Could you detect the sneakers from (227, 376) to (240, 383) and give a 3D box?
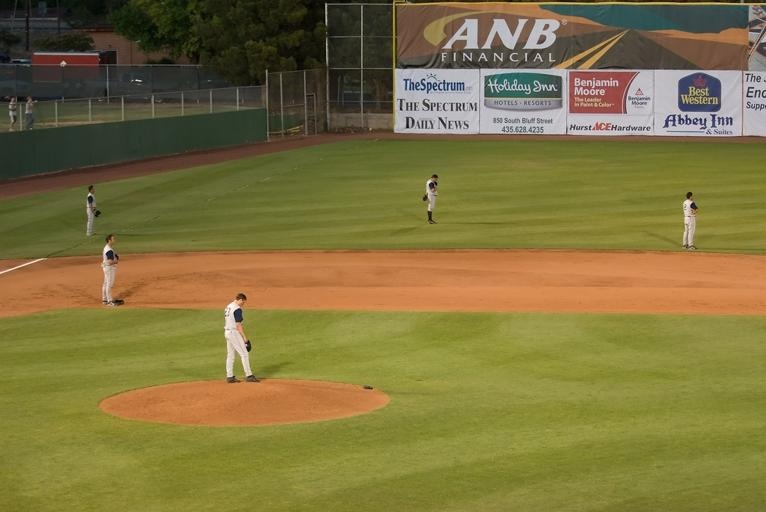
[{"bbox_3d":[-4.949,4.027,44.265,0.490,0.261,0.164,-4,23,-11],"label":"sneakers"}]

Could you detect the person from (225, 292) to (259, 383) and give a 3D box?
[{"bbox_3d":[-4.705,2.695,44.085,1.078,2.902,0.850,8,15,39],"label":"person"}]

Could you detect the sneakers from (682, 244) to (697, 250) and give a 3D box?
[{"bbox_3d":[12.763,-0.357,56.344,0.551,0.181,0.175,0,7,-13],"label":"sneakers"}]

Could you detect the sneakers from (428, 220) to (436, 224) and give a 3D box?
[{"bbox_3d":[2.175,-1.522,60.494,0.359,0.176,0.099,-4,25,-4],"label":"sneakers"}]
